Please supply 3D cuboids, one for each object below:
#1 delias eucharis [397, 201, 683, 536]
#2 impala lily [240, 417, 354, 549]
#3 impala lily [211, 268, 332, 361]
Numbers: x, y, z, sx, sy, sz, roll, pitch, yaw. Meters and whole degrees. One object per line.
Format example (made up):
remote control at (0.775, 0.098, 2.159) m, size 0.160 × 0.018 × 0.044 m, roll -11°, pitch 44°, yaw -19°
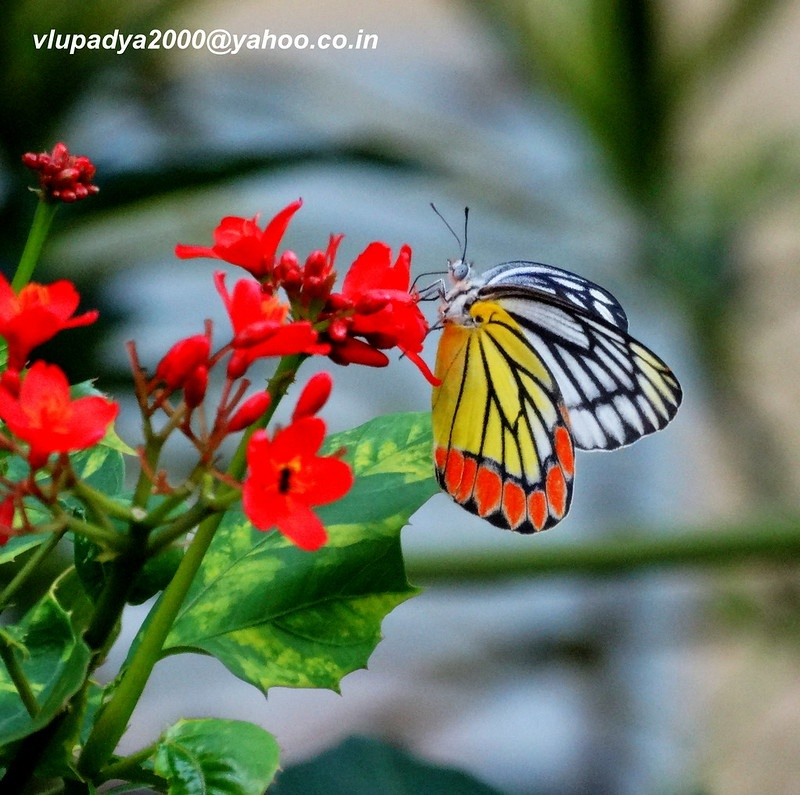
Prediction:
delias eucharis at (0.266, -0.070, 2.115) m, size 0.565 × 0.713 × 0.403 m, roll -1°, pitch 16°, yaw -1°
impala lily at (-0.094, 0.078, 0.990) m, size 0.096 × 0.067 × 0.118 m, roll 3°, pitch 61°, yaw 0°
impala lily at (-0.129, -0.087, 1.052) m, size 0.087 × 0.082 × 0.126 m, roll -17°, pitch 63°, yaw -10°
